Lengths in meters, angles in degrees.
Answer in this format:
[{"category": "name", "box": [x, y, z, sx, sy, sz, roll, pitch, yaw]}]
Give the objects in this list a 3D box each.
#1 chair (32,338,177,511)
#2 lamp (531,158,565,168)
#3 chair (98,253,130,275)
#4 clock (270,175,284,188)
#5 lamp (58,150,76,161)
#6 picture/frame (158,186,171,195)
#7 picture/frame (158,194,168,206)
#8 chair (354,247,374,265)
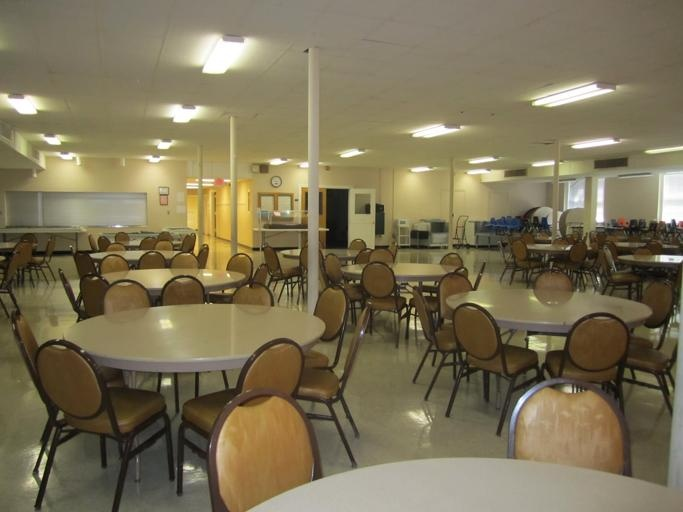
[{"category": "chair", "box": [-1.443, 1.015, 3.283, 0.745, 1.124, 0.437, -6, 8, -33]}, {"category": "lamp", "box": [5.830, -2.637, 14.788, 0.894, 0.236, 0.829, 4, 5, 30]}, {"category": "chair", "box": [-2.847, 0.110, 6.566, 0.277, 0.433, 0.278, -3, 8, -36]}, {"category": "clock", "box": [-2.091, -2.401, 16.810, 0.356, 0.371, 0.046, 14, -11, -34]}, {"category": "lamp", "box": [-7.425, -2.707, 14.198, 0.312, 0.084, 0.305, -1, 0, 24]}, {"category": "picture/frame", "box": [-5.192, -1.915, 15.417, 0.390, 0.352, 0.201, -2, 12, -31]}, {"category": "picture/frame", "box": [-5.251, -1.653, 15.419, 0.308, 0.448, 0.055, -1, 3, -33]}, {"category": "chair", "box": [0.344, 0.007, 8.068, 0.198, 0.388, 0.233, 5, 2, 17]}]
